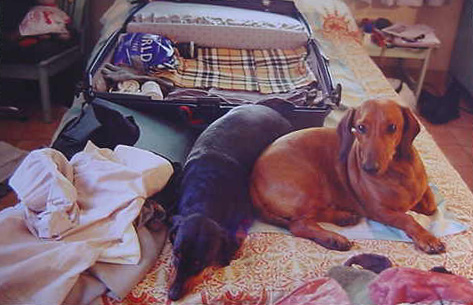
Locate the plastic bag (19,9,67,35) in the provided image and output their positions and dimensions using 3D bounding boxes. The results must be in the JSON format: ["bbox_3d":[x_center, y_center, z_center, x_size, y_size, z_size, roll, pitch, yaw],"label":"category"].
[{"bbox_3d":[-1.446,-0.959,2.778,0.282,0.082,0.180,-10,68,-32],"label":"plastic bag"}]

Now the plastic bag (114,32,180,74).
[{"bbox_3d":[-0.541,-0.609,2.294,0.358,0.107,0.269,5,58,-7],"label":"plastic bag"}]

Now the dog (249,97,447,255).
[{"bbox_3d":[0.495,0.044,1.663,0.824,0.555,0.582,5,25,28],"label":"dog"}]
